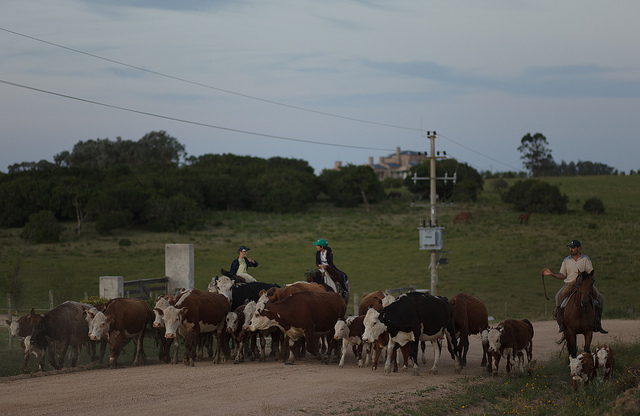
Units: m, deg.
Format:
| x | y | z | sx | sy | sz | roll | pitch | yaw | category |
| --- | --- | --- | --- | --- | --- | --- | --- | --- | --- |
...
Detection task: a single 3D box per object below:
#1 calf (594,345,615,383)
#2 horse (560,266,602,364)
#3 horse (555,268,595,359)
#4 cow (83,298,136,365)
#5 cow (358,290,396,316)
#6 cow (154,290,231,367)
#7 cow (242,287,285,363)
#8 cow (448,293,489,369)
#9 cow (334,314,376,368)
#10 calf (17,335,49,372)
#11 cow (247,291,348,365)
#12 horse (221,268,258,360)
| x | y | z | sx | sy | sz | roll | pitch | yaw | category |
| --- | --- | --- | --- | --- | --- | --- | --- | --- | --- |
| 17.616 | 9.705 | 66.796 | 1.377 | 2.237 | 0.794 | 2 | -5 | -23 | calf |
| 16.374 | 6.607 | 68.039 | 2.286 | 5.820 | 1.600 | -1 | -5 | 13 | horse |
| 16.765 | 7.860 | 70.291 | 2.215 | 5.908 | 9.436 | 3 | -16 | 10 | horse |
| -13.465 | 8.024 | 69.567 | 2.892 | 4.274 | 4.575 | 1 | -2 | 3 | cow |
| 3.652 | 6.184 | 71.775 | 1.043 | 1.759 | 3.252 | 0 | -11 | -17 | cow |
| -8.003 | 7.822 | 70.362 | 2.214 | 5.027 | 7.183 | -2 | -7 | 27 | cow |
| -3.919 | 7.702 | 71.025 | 2.668 | 4.705 | 4.295 | 0 | 0 | -2 | cow |
| 8.906 | 7.195 | 70.309 | 1.724 | 3.440 | 5.756 | -5 | -12 | 24 | cow |
| 3.050 | 8.419 | 69.725 | 2.197 | 3.681 | 3.991 | 1 | 0 | 18 | cow |
| -18.017 | 9.308 | 69.022 | 1.504 | 2.276 | 1.206 | 1 | -5 | -16 | calf |
| -1.090 | 7.882 | 70.523 | 7.932 | 4.930 | 2.549 | 2 | -6 | -34 | cow |
| -5.655 | 7.179 | 72.134 | 2.426 | 5.933 | 3.263 | 1 | -1 | 9 | horse |
